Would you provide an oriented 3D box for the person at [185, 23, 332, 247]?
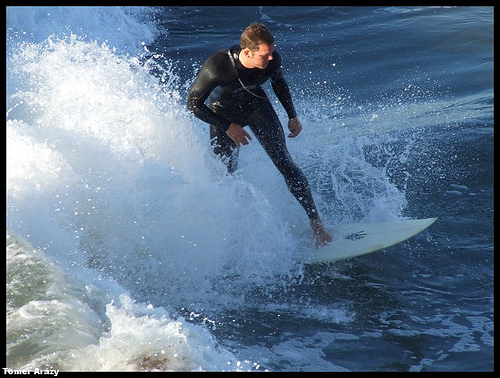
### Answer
[{"bbox_3d":[0.171,-0.808,7.347,1.760,2.256,0.808,17,39,7],"label":"person"}]
